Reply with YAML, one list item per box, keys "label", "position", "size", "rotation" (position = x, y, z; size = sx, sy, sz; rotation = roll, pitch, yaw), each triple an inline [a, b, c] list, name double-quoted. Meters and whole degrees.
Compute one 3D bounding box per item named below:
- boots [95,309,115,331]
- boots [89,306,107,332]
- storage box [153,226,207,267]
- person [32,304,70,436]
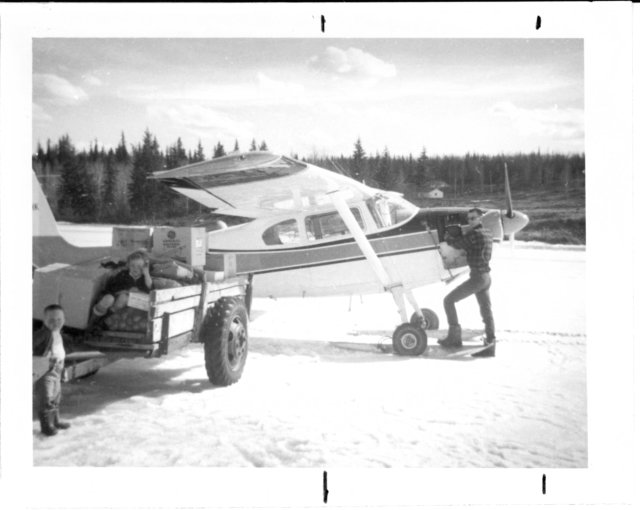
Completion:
- label: "boots"
  position: [-1.907, 0.584, 4.621]
  size: [0.067, 0.189, 0.140]
  rotation: [16, 28, -40]
- label: "boots"
  position: [-1.938, 0.571, 4.568]
  size: [0.156, 0.243, 0.102]
  rotation: [-5, 6, -26]
- label: "storage box"
  position: [-1.364, -0.064, 5.066]
  size: [0.522, 0.411, 0.219]
  rotation: [-4, 6, -19]
- label: "person"
  position: [-2.301, 0.991, 4.469]
  size: [0.276, 1.144, 0.248]
  rotation: [-7, 7, -42]
